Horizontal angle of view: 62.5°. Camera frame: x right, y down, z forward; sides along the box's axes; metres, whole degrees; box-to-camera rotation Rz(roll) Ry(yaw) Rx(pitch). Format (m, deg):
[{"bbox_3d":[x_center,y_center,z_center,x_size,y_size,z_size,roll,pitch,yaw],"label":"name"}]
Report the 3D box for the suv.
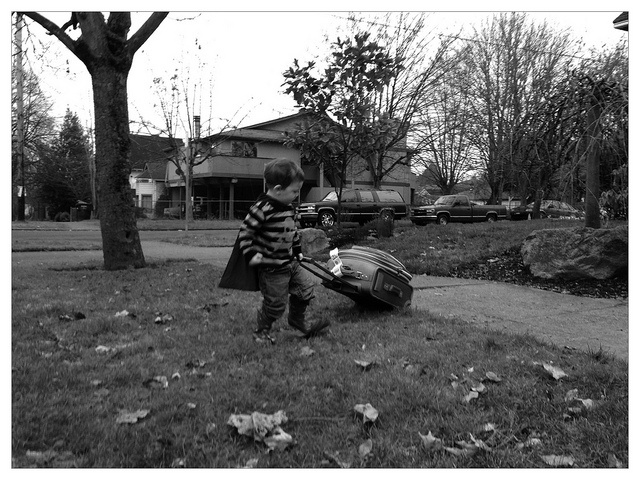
[{"bbox_3d":[1.659,-1.741,22.301,4.267,1.852,2.150,0,0,-20],"label":"suv"}]
